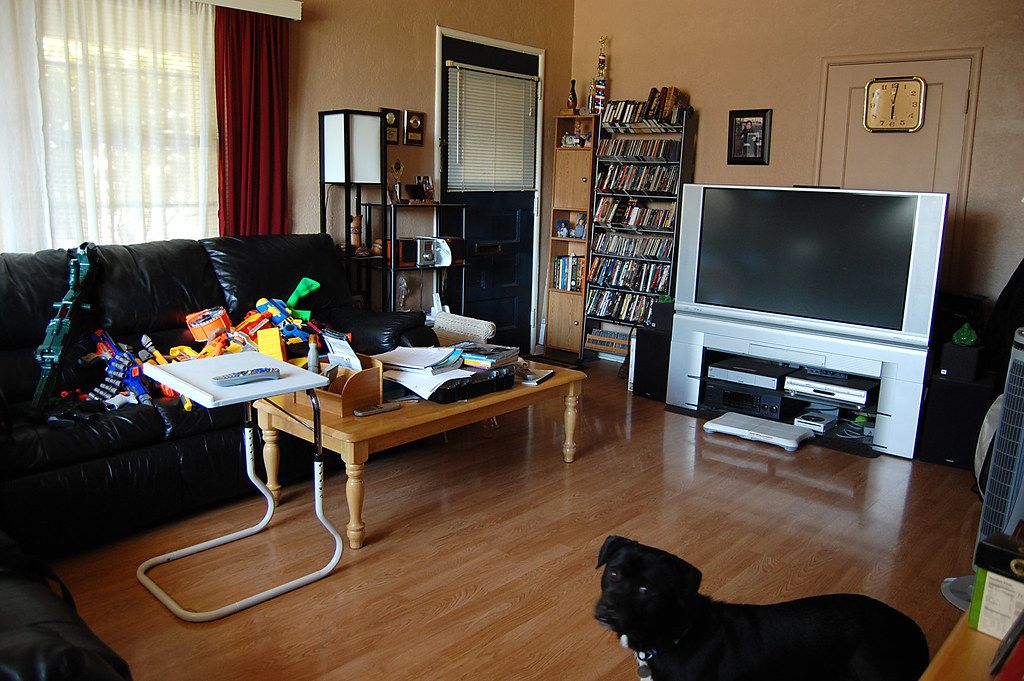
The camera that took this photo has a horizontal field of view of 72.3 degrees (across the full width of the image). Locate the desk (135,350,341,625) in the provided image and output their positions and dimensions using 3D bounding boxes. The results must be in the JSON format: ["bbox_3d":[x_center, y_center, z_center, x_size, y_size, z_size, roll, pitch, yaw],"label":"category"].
[{"bbox_3d":[-1.258,0.617,3.111,0.722,0.884,0.758,8,11,41],"label":"desk"}]

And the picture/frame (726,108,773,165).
[{"bbox_3d":[1.938,-1.663,5.671,0.452,0.532,0.060,9,12,39],"label":"picture/frame"}]

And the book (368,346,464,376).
[{"bbox_3d":[-0.505,0.103,3.831,0.249,0.070,0.235,9,15,33],"label":"book"}]

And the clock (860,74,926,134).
[{"bbox_3d":[2.788,-1.722,5.076,0.508,0.490,0.085,-1,2,40],"label":"clock"}]

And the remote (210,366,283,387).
[{"bbox_3d":[-1.108,0.149,2.920,0.182,0.037,0.093,-6,13,-34],"label":"remote"}]

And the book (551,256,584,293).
[{"bbox_3d":[0.517,-0.618,6.490,0.201,0.315,0.341,7,9,41],"label":"book"}]

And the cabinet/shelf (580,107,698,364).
[{"bbox_3d":[1.038,-1.089,5.976,0.737,1.806,0.263,4,-3,15],"label":"cabinet/shelf"}]
